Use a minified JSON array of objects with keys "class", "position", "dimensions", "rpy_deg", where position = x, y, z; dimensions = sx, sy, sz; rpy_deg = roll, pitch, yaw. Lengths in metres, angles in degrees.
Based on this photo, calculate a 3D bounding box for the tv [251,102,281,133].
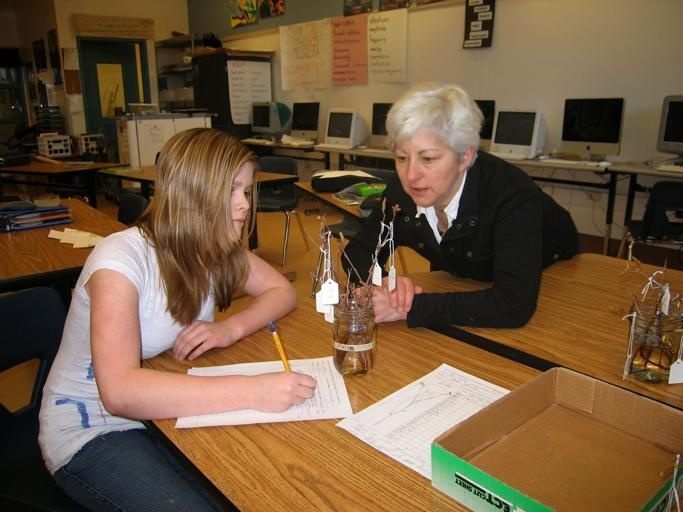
[{"class":"tv","position":[-1.153,-2.153,7.381],"dimensions":[0.442,0.400,0.243],"rpy_deg":[14,23,41]}]

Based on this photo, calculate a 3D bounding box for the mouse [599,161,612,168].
[{"class":"mouse","position":[2.301,-0.805,4.202],"dimensions":[0.099,0.040,0.101],"rpy_deg":[-5,15,-2]}]

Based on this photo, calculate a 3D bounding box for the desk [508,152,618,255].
[{"class":"desk","position":[2.433,-0.435,4.807],"dimensions":[0.570,1.150,1.252],"rpy_deg":[13,9,30]}]

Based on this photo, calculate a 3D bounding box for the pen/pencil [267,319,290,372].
[{"class":"pen/pencil","position":[-0.174,0.244,1.294],"dimensions":[0.018,0.160,0.018],"rpy_deg":[-23,31,-7]}]

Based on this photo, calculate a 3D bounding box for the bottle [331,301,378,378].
[{"class":"bottle","position":[0.033,0.207,1.223],"dimensions":[0.113,0.188,0.112],"rpy_deg":[-2,7,0]}]

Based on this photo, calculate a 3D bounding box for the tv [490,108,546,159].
[{"class":"tv","position":[1.771,-1.256,4.870],"dimensions":[0.470,0.473,0.410],"rpy_deg":[17,27,38]}]

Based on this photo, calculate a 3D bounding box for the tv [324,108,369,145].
[{"class":"tv","position":[0.052,-1.723,6.405],"dimensions":[0.496,0.431,0.277],"rpy_deg":[15,13,39]}]

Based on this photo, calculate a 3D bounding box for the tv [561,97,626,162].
[{"class":"tv","position":[2.323,-1.176,4.411],"dimensions":[0.186,0.530,0.518],"rpy_deg":[-12,21,-38]}]

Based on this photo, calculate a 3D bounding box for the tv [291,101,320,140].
[{"class":"tv","position":[-0.523,-1.982,7.013],"dimensions":[0.504,0.521,0.180],"rpy_deg":[19,23,36]}]
